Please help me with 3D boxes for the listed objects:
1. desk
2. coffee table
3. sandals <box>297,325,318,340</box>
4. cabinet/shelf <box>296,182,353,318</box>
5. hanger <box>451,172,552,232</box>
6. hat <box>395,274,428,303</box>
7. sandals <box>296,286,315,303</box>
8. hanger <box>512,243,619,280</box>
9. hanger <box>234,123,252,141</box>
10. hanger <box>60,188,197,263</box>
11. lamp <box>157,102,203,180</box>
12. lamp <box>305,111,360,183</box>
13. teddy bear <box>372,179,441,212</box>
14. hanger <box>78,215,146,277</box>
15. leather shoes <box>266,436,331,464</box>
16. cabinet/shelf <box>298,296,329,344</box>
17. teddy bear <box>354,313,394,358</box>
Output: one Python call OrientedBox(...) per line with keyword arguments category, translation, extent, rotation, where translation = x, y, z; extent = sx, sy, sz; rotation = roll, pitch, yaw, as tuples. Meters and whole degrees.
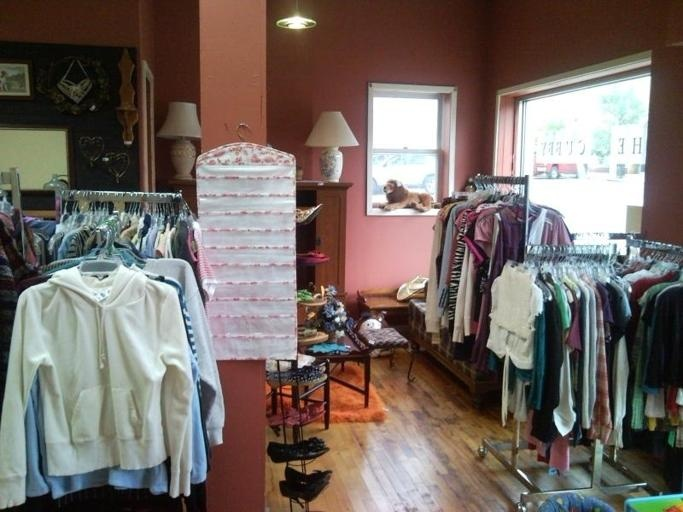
OrientedBox(category="desk", translation=(-0.049, 0.746, 4.347), extent=(0.504, 0.644, 0.817), rotation=(1, 3, -3))
OrientedBox(category="coffee table", translation=(0.414, 0.696, 4.578), extent=(0.435, 0.409, 0.792), rotation=(-2, 11, -7))
OrientedBox(category="sandals", translation=(-0.253, 0.548, 3.897), extent=(0.142, 0.050, 0.384), rotation=(-1, 12, -4))
OrientedBox(category="cabinet/shelf", translation=(-0.191, -0.033, 5.189), extent=(0.550, 1.271, 0.326), rotation=(-1, -8, 9))
OrientedBox(category="hanger", translation=(1.020, -0.419, 3.735), extent=(0.262, 0.351, 0.872), rotation=(-4, 8, -41))
OrientedBox(category="hat", translation=(0.738, 0.311, 5.600), extent=(0.306, 0.118, 0.199), rotation=(-25, 25, -23))
OrientedBox(category="sandals", translation=(-0.268, 0.297, 3.860), extent=(0.111, 0.061, 0.176), rotation=(-1, 12, -5))
OrientedBox(category="hanger", translation=(1.331, 0.032, 3.178), extent=(0.661, 0.264, 0.209), rotation=(1, 2, -6))
OrientedBox(category="hanger", translation=(-0.465, -0.573, 2.478), extent=(0.062, 0.099, 0.013), rotation=(7, 13, -6))
OrientedBox(category="hanger", translation=(-1.008, -0.111, 2.547), extent=(0.534, 0.270, 0.413), rotation=(1, 39, -9))
OrientedBox(category="lamp", translation=(-1.406, -0.992, 4.603), extent=(0.348, 0.646, 0.489), rotation=(-3, 12, -16))
OrientedBox(category="lamp", translation=(-0.107, -1.058, 5.252), extent=(0.528, 0.691, 0.525), rotation=(6, 10, 39))
OrientedBox(category="teddy bear", translation=(0.670, -0.645, 5.792), extent=(0.675, 0.354, 0.136), rotation=(-1, 11, -7))
OrientedBox(category="hanger", translation=(-0.951, -0.043, 2.266), extent=(0.121, 0.178, 0.396), rotation=(3, 8, -3))
OrientedBox(category="leather shoes", translation=(-0.204, 0.894, 2.566), extent=(0.270, 0.116, 0.164), rotation=(-5, 0, -9))
OrientedBox(category="cabinet/shelf", translation=(-0.243, 0.484, 3.986), extent=(0.312, 0.256, 0.293), rotation=(3, 6, 43))
OrientedBox(category="teddy bear", translation=(0.294, 0.785, 5.135), extent=(0.396, 0.452, 0.324), rotation=(-8, 5, 0))
